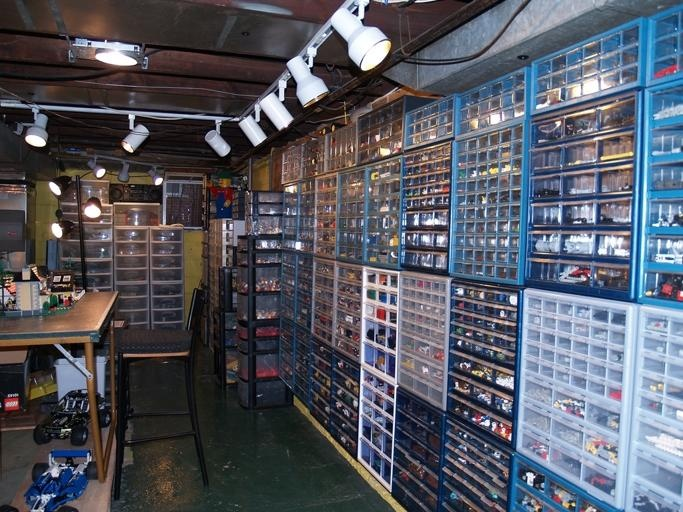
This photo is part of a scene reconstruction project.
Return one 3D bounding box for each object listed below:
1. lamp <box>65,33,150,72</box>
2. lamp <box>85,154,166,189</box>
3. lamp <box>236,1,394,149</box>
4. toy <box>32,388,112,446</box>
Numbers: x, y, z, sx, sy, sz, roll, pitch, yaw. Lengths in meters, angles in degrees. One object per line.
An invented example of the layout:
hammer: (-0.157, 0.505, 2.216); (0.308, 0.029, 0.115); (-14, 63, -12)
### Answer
lamp: (-1.568, -1.354, 3.511); (0.312, 0.062, 0.287); (1, 3, 15)
lamp: (-3.671, -1.420, 8.833); (1.415, 0.341, 0.461); (6, -22, -8)
lamp: (-0.176, -1.238, 3.586); (0.188, 0.344, 1.112); (-14, -19, -49)
toy: (-2.176, 1.299, 4.274); (0.443, 0.258, 0.594); (7, 3, -4)
